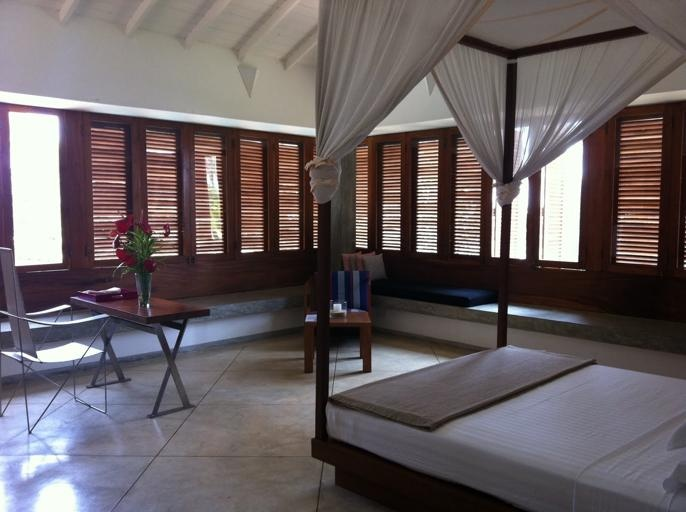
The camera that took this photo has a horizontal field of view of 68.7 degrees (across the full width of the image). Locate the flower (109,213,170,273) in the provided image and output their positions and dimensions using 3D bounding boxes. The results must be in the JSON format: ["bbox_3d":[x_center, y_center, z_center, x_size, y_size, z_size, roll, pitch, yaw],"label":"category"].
[{"bbox_3d":[-2.075,-0.134,5.052,0.562,0.597,0.569,2,12,-10],"label":"flower"}]

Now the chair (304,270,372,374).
[{"bbox_3d":[0.024,0.654,5.627,0.804,1.316,0.997,0,-1,1],"label":"chair"}]
